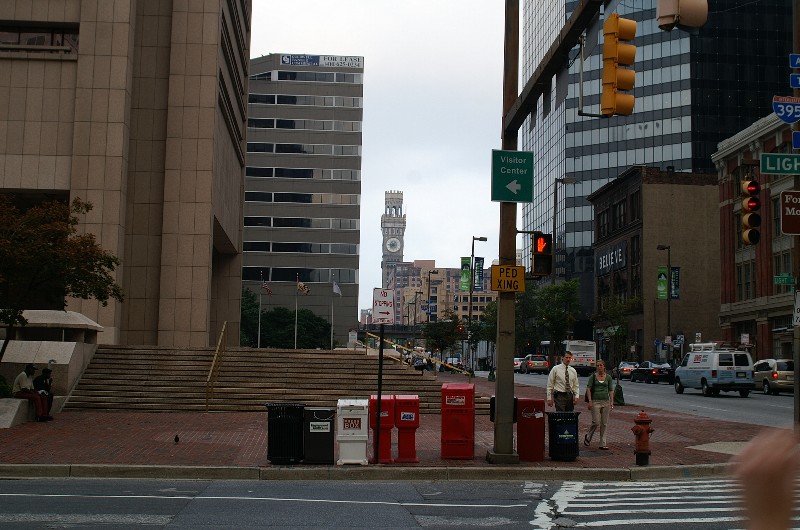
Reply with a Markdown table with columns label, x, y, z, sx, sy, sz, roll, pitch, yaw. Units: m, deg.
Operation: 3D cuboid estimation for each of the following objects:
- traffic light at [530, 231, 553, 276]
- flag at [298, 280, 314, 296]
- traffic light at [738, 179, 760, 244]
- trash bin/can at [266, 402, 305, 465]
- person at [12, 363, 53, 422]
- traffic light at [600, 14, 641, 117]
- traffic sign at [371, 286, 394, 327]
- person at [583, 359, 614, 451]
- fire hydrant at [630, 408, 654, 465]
| label | x | y | z | sx | sy | sz | roll | pitch | yaw |
| --- | --- | --- | --- | --- | --- | --- | --- | --- | --- |
| traffic light | 4.690 | -0.348 | 34.455 | 0.602 | 1.605 | 0.950 | 1 | -10 | 4 |
| flag | -10.295 | 2.530 | 111.699 | 1.269 | 0.869 | 1.886 | -4 | -18 | 12 |
| traffic light | 11.792 | -1.854 | 34.764 | 0.551 | 2.210 | 0.942 | -1 | -10 | 15 |
| trash bin/can | -3.757 | 5.486 | 33.623 | 1.104 | 2.026 | 1.080 | -2 | -1 | -6 |
| person | -14.652 | 5.126 | 41.338 | 1.398 | 2.754 | 1.190 | 1 | -2 | -7 |
| traffic light | 6.445 | -5.915 | 30.649 | 0.960 | 3.277 | 0.901 | 1 | -1 | 3 |
| traffic sign | -0.569 | 1.374 | 34.437 | 0.714 | 1.258 | 0.648 | 3 | -10 | -6 |
| person | 6.982 | 4.965 | 36.760 | 0.912 | 3.140 | 1.092 | -2 | -2 | 17 |
| fire hydrant | 7.980 | 5.740 | 34.086 | 0.552 | 1.821 | 0.949 | 0 | -10 | 13 |
